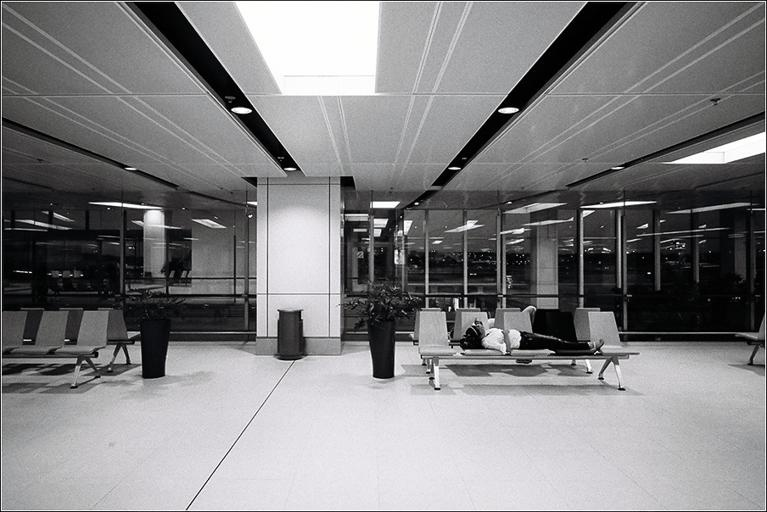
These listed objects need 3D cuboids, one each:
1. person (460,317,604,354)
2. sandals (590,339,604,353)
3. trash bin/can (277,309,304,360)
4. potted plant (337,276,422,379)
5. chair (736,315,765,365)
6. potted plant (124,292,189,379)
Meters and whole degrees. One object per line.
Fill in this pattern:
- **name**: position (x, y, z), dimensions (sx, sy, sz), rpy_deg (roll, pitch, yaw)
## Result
- **person**: position (2.718, 1.638, 9.117), dimensions (1.916, 0.427, 0.960), rpy_deg (3, 7, 6)
- **sandals**: position (4.140, 1.713, 9.123), dimensions (0.177, 0.236, 0.546), rpy_deg (7, 12, 31)
- **trash bin/can**: position (-2.069, 1.766, 10.683), dimensions (0.666, 1.093, 0.626), rpy_deg (-4, 12, -19)
- **potted plant**: position (0.058, 1.551, 10.206), dimensions (1.824, 1.900, 1.866), rpy_deg (-3, -9, 21)
- **chair**: position (8.529, 1.998, 10.997), dimensions (0.466, 0.799, 2.509), rpy_deg (9, 14, 37)
- **potted plant**: position (-5.198, 1.832, 10.721), dimensions (1.604, 1.693, 1.266), rpy_deg (0, -2, 2)
